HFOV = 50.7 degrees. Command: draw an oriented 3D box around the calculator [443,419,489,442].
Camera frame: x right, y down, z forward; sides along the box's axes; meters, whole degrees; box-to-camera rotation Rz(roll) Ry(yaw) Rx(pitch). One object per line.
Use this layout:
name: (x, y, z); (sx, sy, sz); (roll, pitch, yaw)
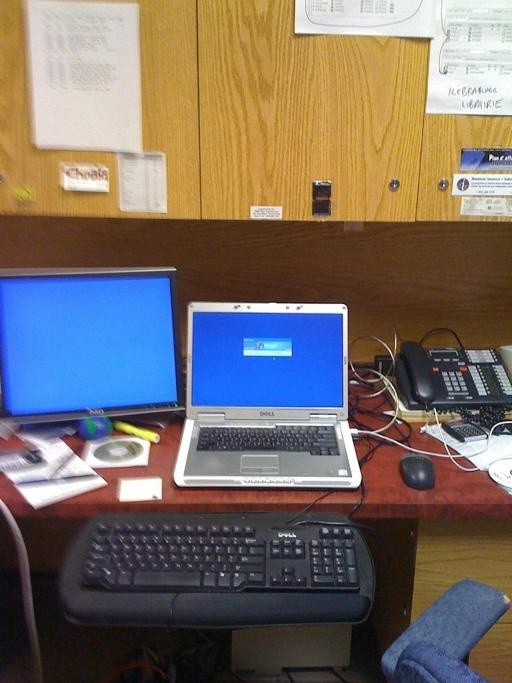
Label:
calculator: (0.471, 0.198, 1.216); (0.047, 0.012, 0.050); (-4, 19, -15)

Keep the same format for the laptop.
laptop: (0.029, 0.139, 1.195); (0.372, 0.251, 0.371); (1, 40, 0)
